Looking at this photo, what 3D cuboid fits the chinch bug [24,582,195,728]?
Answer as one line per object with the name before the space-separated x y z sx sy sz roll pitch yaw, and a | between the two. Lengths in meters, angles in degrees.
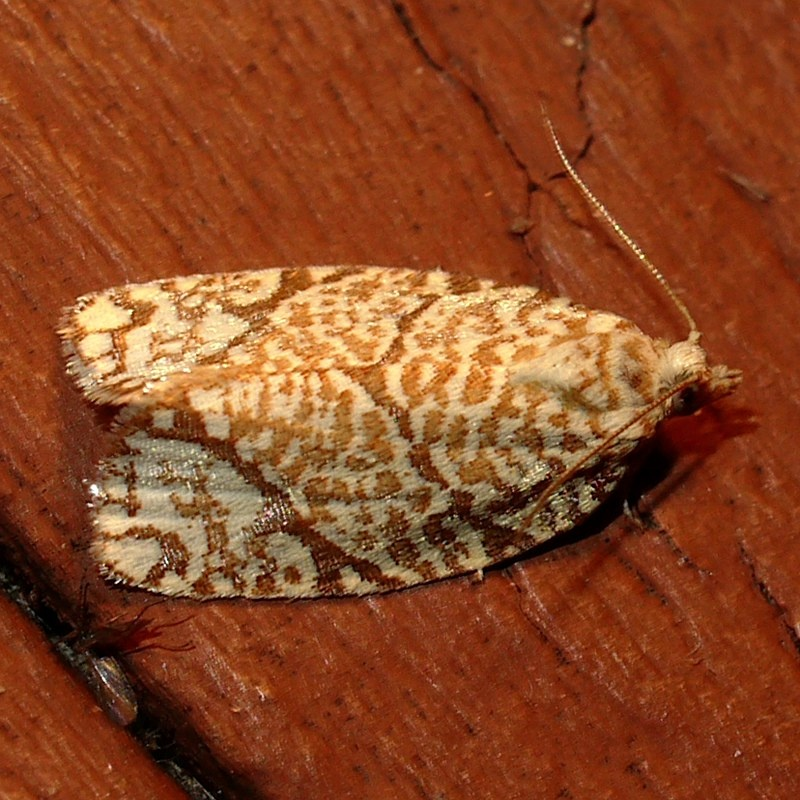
chinch bug | -1.408 1.157 5.404 0.371 0.104 0.860 -40 84 -4
